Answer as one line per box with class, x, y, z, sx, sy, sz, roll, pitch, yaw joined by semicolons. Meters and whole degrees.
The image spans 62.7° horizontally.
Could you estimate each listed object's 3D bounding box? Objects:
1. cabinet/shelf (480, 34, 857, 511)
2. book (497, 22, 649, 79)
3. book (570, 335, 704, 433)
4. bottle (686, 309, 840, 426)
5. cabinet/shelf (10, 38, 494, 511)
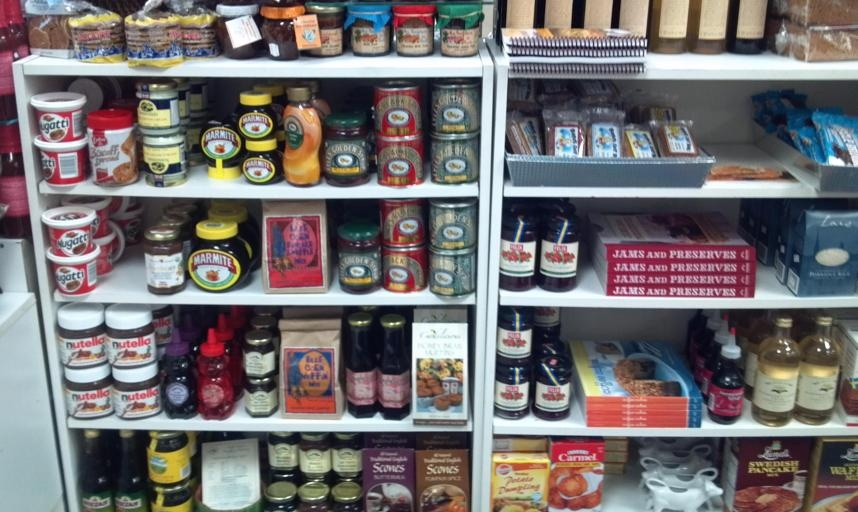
cabinet/shelf;0.944;0.047;2.750;2.030;1.848;0.653;1;4;-4
book;0.522;-0.728;2.542;0.510;0.159;0.139;-2;23;4
book;0.840;0.517;2.856;0.359;0.080;0.348;0;28;0
bottle;1.347;0.457;2.800;0.416;0.533;0.220;-3;17;-3
cabinet/shelf;-0.691;0.042;2.727;1.925;1.998;0.650;-1;25;-1
